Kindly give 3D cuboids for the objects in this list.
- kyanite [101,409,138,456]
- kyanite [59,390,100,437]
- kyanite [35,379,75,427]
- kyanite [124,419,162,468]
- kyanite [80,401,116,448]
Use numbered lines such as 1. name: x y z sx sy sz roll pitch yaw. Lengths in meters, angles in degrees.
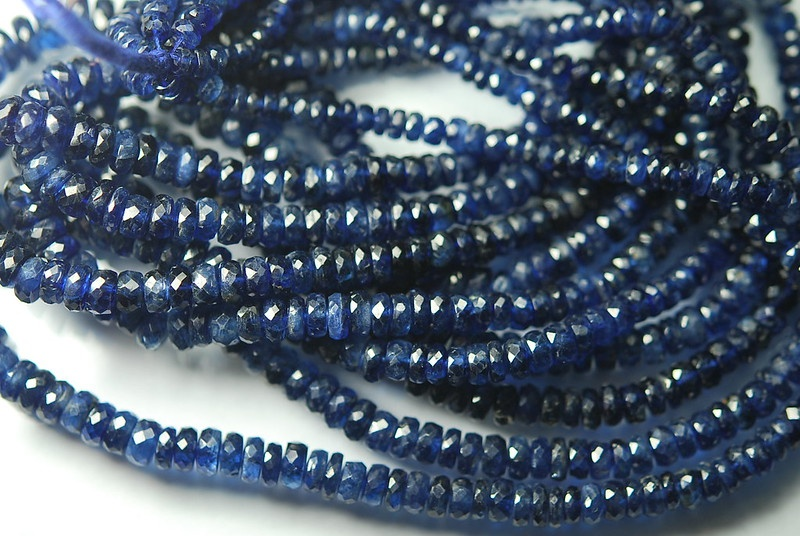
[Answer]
1. kyanite: -0.433 0.249 1.870 0.054 0.056 0.020 -42 -94 13
2. kyanite: -0.518 0.223 1.868 0.070 0.079 0.024 2 -65 7
3. kyanite: -0.541 0.213 1.848 0.017 0.060 0.062 31 -36 20
4. kyanite: -0.400 0.277 1.846 0.045 0.043 0.073 12 -101 -3
5. kyanite: -0.475 0.248 1.855 0.039 0.031 0.060 29 -69 -9
